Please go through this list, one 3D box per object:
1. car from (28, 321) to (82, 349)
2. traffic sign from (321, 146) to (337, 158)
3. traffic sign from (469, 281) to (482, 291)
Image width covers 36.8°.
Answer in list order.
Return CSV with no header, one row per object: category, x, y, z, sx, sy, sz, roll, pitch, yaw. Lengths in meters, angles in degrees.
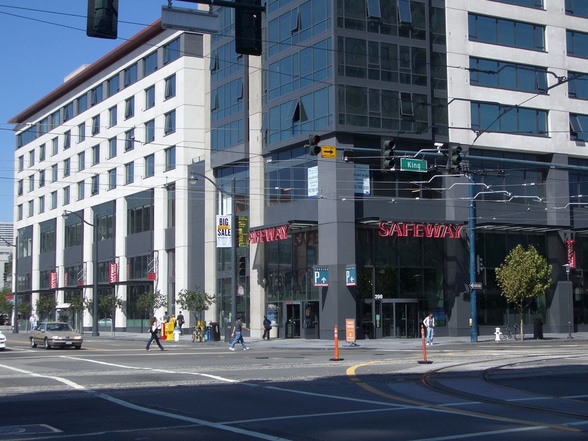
car,-14.559,6.950,54.179,1.602,1.206,3.674,4,-11,-27
traffic sign,1.784,-3.616,46.284,1.062,0.746,0.138,3,-3,-37
traffic sign,11.406,4.085,55.791,0.629,0.547,1.480,-5,-14,16
